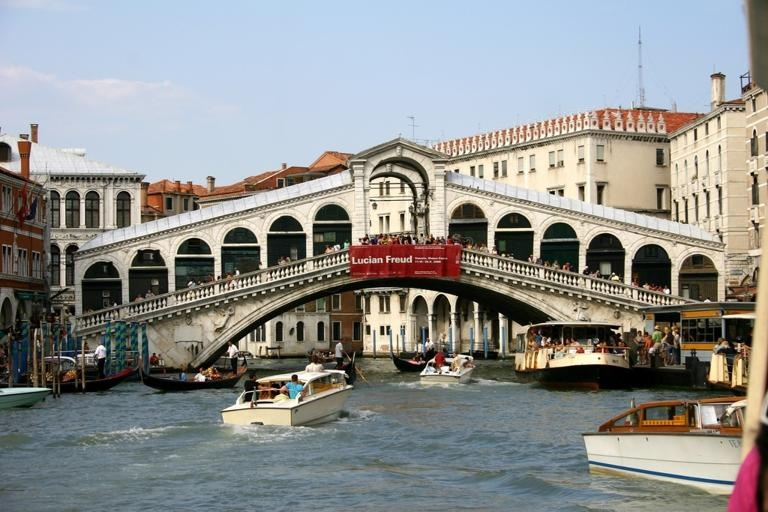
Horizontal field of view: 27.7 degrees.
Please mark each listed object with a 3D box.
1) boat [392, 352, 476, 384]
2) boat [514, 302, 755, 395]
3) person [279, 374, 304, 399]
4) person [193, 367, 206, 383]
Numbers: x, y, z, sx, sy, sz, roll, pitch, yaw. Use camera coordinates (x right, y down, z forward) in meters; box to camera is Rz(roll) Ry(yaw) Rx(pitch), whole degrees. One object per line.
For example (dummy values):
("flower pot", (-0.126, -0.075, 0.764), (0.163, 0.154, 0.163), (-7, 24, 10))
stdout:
("boat", (3.846, 7.098, 97.735), (2.744, 1.411, 4.301), (2, 13, 13))
("boat", (14.735, 5.072, 92.733), (13.530, 6.373, 9.425), (2, 14, 14))
("person", (-4.759, 6.537, 79.304), (1.033, 1.192, 0.662), (10, 19, 23))
("person", (-10.958, 6.961, 92.306), (0.616, 0.825, 0.343), (2, -31, -3))
